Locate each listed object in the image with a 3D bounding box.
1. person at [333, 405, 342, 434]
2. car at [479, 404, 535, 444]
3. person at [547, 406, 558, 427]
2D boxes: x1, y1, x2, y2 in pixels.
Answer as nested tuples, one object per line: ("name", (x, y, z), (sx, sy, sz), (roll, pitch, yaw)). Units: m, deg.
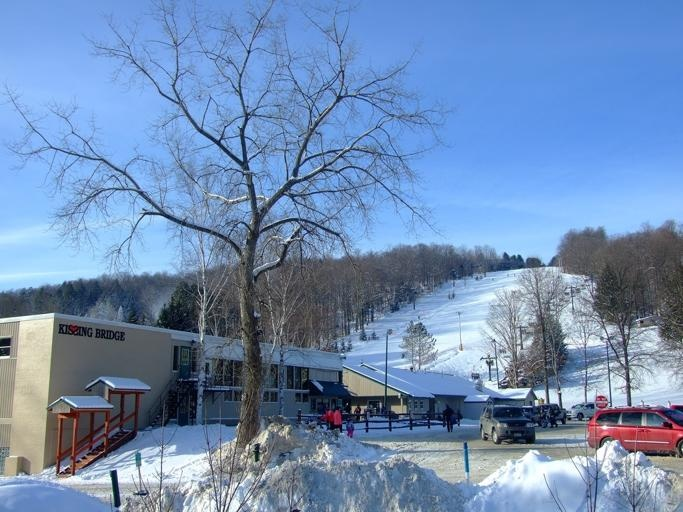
("person", (-0.156, 8.143, 34.984), (0.410, 0.945, 1.371), (-1, -15, -1))
("car", (8.992, 9.156, 38.147), (1.959, 2.215, 3.663), (4, -16, -18))
("person", (16.140, 12.378, 53.916), (0.578, 1.551, 1.204), (-4, -14, 17))
